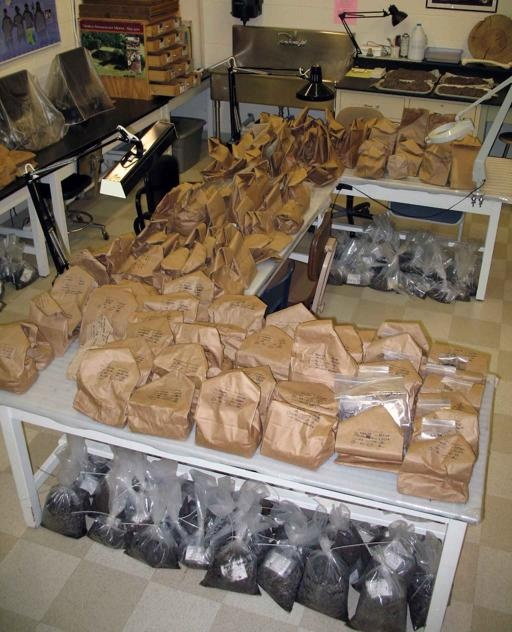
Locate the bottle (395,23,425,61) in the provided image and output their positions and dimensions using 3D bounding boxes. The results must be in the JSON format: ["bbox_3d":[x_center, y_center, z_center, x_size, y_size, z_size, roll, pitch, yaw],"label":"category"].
[{"bbox_3d":[1.476,-2.588,4.608,0.291,0.294,0.159,24,68,20],"label":"bottle"}]

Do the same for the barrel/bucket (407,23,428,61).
[{"bbox_3d":[1.548,-2.591,4.606,0.232,0.306,0.167,-27,42,-35],"label":"barrel/bucket"}]

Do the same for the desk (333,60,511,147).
[{"bbox_3d":[1.493,-2.058,4.477,1.378,0.437,0.698,12,35,18],"label":"desk"}]
